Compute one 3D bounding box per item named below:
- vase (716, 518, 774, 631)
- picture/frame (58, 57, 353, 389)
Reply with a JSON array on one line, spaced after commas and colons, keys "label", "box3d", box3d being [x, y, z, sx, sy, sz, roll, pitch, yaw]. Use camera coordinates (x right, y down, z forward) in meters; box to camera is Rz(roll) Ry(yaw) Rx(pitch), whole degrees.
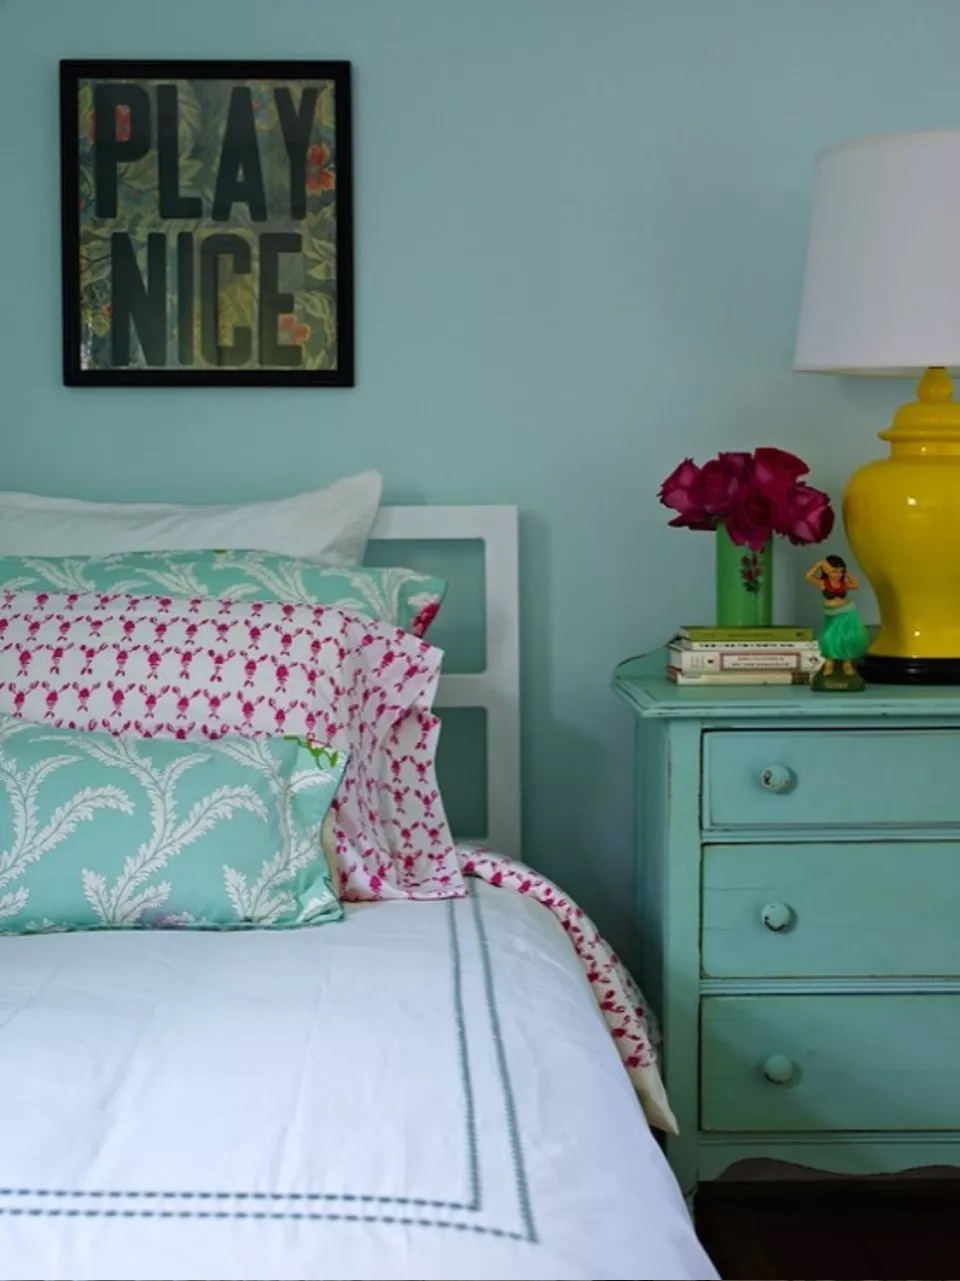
[{"label": "vase", "box3d": [0.373, -0.081, 1.705, 0.125, 0.128, 0.114, 1, 14, 12]}, {"label": "picture/frame", "box3d": [-0.430, -0.662, 1.854, 0.607, 0.514, 0.022, -1, 0, -5]}]
